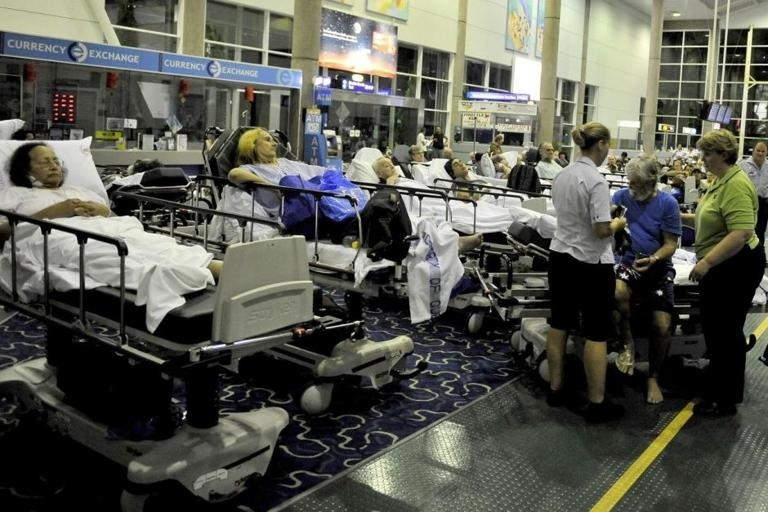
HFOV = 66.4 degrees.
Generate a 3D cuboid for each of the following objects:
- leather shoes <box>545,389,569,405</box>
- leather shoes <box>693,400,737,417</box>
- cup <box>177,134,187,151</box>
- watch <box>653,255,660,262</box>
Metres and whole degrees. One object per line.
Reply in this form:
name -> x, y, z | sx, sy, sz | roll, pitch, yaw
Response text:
leather shoes -> 1.522, 1.237, 5.179 | 0.142, 0.094, 0.133 | 1, -8, -3
leather shoes -> 2.876, 1.323, 5.077 | 0.246, 0.055, 0.172 | 1, 3, 21
cup -> -4.503, -2.544, 13.122 | 0.260, 0.327, 0.453 | -3, 2, -22
watch -> 2.374, 0.016, 5.101 | 0.054, 0.037, 0.052 | -1, -1, -28
